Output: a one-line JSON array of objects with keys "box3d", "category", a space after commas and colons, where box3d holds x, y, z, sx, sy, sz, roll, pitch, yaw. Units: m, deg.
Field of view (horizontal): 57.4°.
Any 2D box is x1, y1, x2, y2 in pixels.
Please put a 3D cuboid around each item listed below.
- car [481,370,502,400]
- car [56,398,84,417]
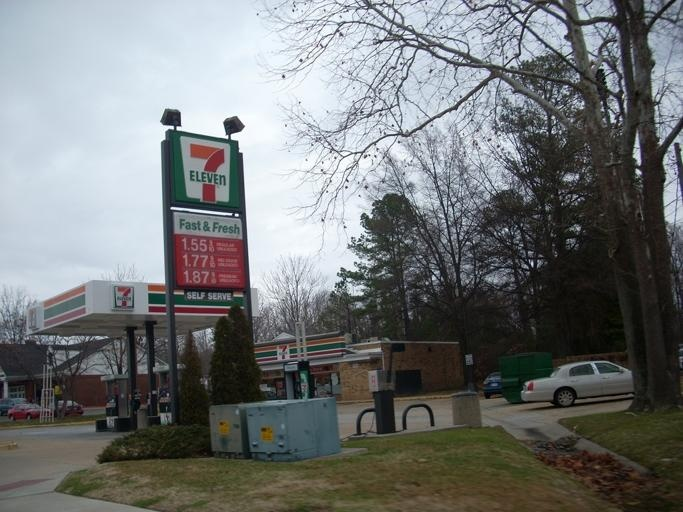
[{"box3d": [9.050, 7.739, 37.171, 1.187, 0.890, 2.695, -3, -8, 15], "category": "car"}, {"box3d": [-22.758, 12.821, 52.291, 1.811, 1.341, 3.985, 2, -4, -28], "category": "car"}]
